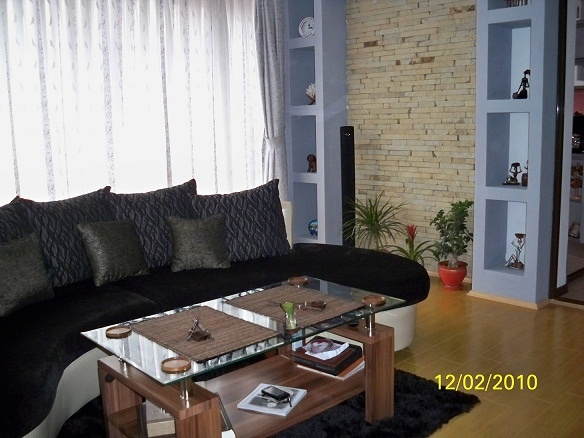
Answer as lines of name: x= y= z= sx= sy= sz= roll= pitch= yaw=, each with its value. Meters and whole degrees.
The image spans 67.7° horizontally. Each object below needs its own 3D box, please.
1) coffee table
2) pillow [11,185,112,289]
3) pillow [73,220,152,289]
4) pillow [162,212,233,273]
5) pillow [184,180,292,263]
coffee table: x=-0.194 y=0.808 z=2.340 sx=1.520 sy=0.661 sz=0.759 roll=-8 pitch=12 yaw=-35
pillow: x=-1.643 y=0.151 z=3.149 sx=0.674 sy=0.632 sz=0.201 roll=-15 pitch=-2 yaw=-42
pillow: x=-1.316 y=0.242 z=3.205 sx=0.147 sy=0.441 sz=0.490 roll=-22 pitch=-5 yaw=40
pillow: x=-0.776 y=0.202 z=3.480 sx=0.469 sy=0.416 sz=0.168 roll=-1 pitch=-16 yaw=-19
pillow: x=-0.586 y=0.157 z=4.039 sx=1.088 sy=0.788 sz=0.397 roll=-6 pitch=-15 yaw=33
